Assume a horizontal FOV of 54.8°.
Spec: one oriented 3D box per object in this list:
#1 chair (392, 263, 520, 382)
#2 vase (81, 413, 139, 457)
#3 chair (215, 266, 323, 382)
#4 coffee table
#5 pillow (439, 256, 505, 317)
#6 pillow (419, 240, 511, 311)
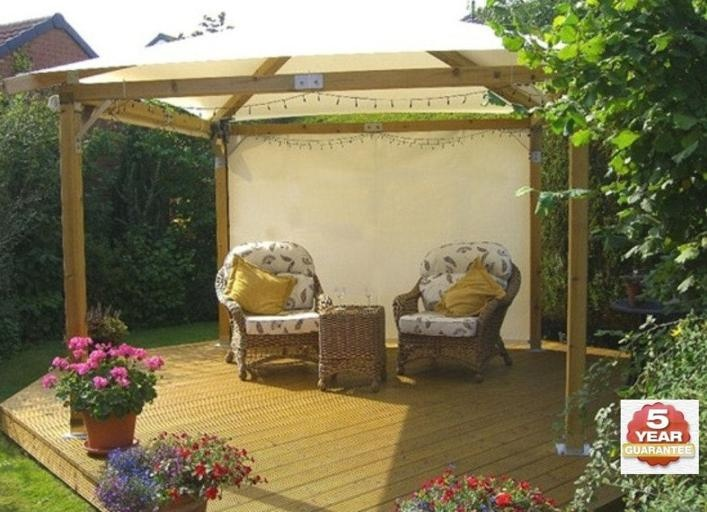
[{"bbox_3d":[1.063,0.552,7.077,1.320,1.143,1.451,-1,1,-3],"label":"chair"},{"bbox_3d":[-1.692,1.207,4.716,0.325,0.248,0.318,1,-6,-5],"label":"vase"},{"bbox_3d":[-0.819,0.841,7.071,1.148,0.951,1.106,7,-15,-30],"label":"chair"},{"bbox_3d":[-0.045,0.741,6.618,0.664,0.810,1.116,0,-1,7],"label":"coffee table"},{"bbox_3d":[1.161,0.287,6.998,0.754,0.197,0.704,12,24,4],"label":"pillow"},{"bbox_3d":[1.187,0.290,7.368,1.155,0.810,0.663,0,8,40],"label":"pillow"}]
